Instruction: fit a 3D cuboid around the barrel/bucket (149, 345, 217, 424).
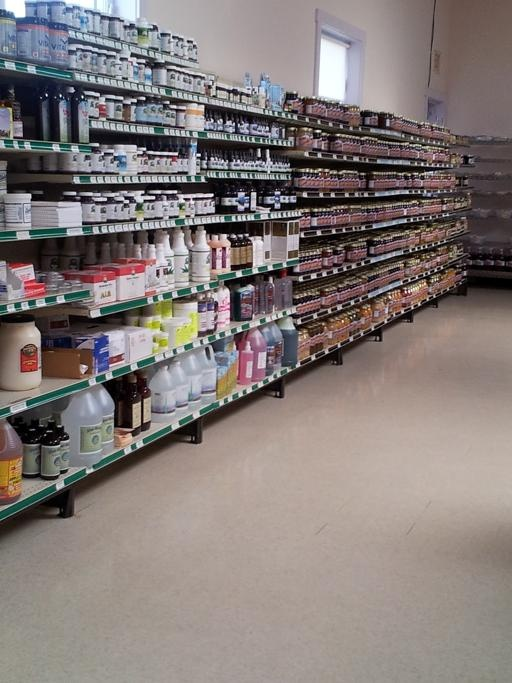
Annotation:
[{"bbox_3d":[-0.353,0.271,3.274,0.196,0.390,0.603,2,8,21],"label":"barrel/bucket"}]
